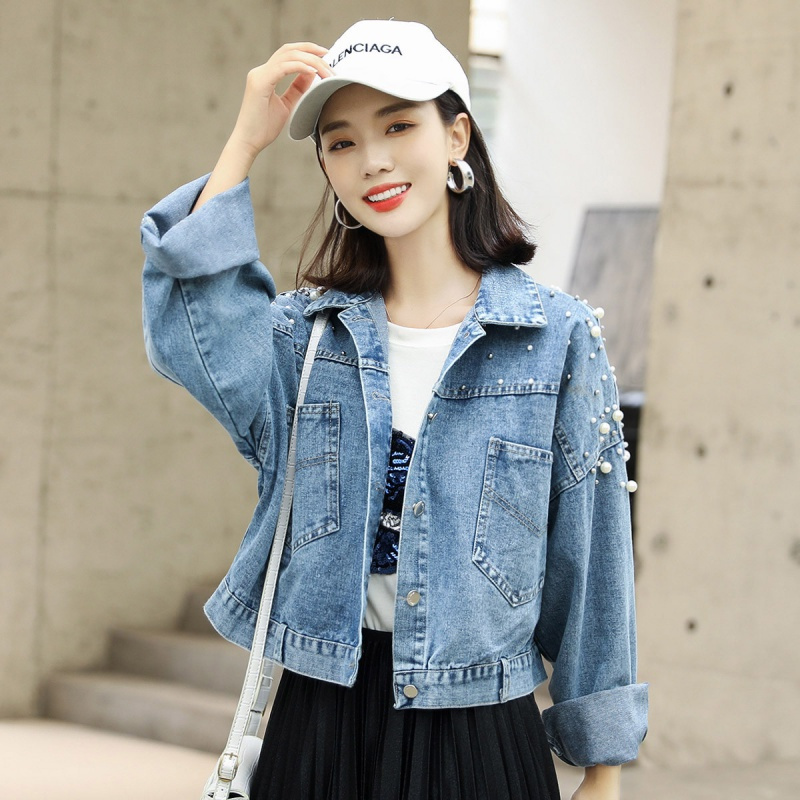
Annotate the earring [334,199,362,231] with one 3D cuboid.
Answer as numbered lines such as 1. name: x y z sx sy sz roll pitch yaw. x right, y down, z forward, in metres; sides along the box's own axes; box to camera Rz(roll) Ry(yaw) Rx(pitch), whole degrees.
1. earring: -0.121 -0.410 3.445 0.014 0.066 0.064 -24 -11 41

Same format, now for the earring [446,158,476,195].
1. earring: 0.135 -0.495 3.391 0.025 0.076 0.054 -14 5 -42
